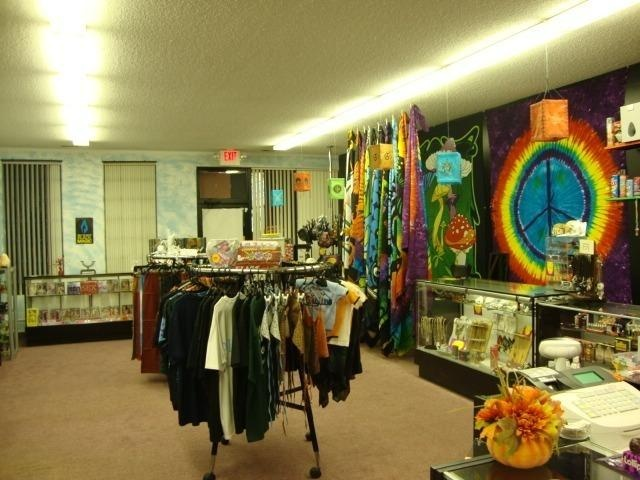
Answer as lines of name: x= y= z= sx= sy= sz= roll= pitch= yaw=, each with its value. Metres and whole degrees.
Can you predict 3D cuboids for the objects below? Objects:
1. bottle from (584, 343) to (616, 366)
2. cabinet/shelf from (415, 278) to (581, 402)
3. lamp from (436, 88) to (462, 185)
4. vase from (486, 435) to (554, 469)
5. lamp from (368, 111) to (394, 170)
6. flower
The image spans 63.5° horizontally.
bottle: x=2.255 y=0.934 z=4.232 sx=0.040 sy=0.207 sz=0.284 roll=-4 pitch=6 yaw=-27
cabinet/shelf: x=1.619 y=1.158 z=6.062 sx=1.520 sy=1.175 sz=1.009 roll=15 pitch=-6 yaw=-18
lamp: x=1.780 y=-1.394 z=7.196 sx=0.283 sy=1.214 sz=1.772 roll=0 pitch=5 yaw=13
vase: x=1.061 y=1.107 z=2.714 sx=0.275 sy=0.176 sz=0.277 roll=3 pitch=-17 yaw=-17
lamp: x=0.870 y=-1.381 z=7.347 sx=0.344 sy=0.780 sz=1.537 roll=-1 pitch=5 yaw=8
flower: x=1.024 y=0.901 z=2.669 sx=0.418 sy=0.377 sz=0.277 roll=1 pitch=6 yaw=26
